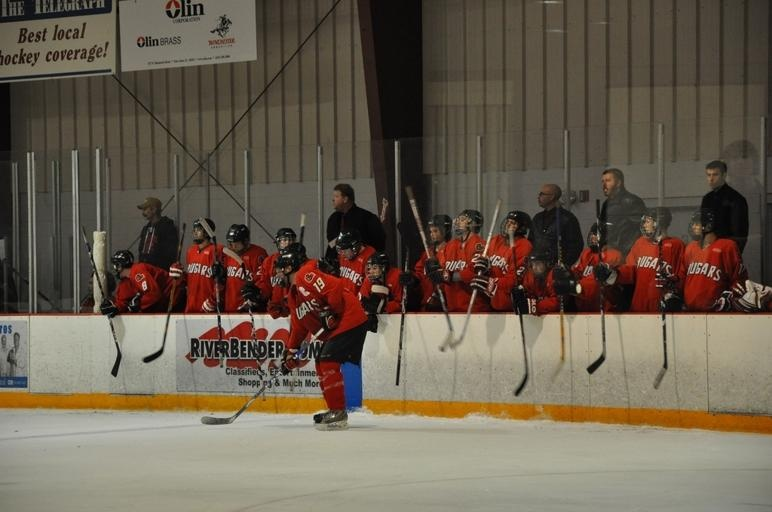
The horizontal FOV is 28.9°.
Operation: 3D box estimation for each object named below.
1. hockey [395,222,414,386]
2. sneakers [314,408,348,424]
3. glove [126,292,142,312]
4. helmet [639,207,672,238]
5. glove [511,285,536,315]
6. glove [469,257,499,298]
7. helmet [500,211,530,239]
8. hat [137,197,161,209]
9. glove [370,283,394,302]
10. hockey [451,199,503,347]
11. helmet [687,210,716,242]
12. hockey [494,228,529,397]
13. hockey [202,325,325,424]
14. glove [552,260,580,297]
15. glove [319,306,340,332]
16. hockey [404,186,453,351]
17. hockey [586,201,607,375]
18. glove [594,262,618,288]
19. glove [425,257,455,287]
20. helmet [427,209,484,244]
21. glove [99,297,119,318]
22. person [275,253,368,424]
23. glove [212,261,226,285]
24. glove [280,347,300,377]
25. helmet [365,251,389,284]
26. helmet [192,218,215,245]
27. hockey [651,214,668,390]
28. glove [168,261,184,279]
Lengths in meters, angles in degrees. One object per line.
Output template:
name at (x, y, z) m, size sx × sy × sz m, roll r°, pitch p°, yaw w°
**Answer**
hockey at (0.185, 0.606, 17.712) m, size 0.188 × 1.820 × 0.360 m, roll 0°, pitch -4°, yaw 3°
sneakers at (-0.641, 1.807, 17.020) m, size 0.372 × 0.164 × 0.151 m, roll 3°, pitch -2°, yaw -5°
glove at (-3.111, 0.574, 18.494) m, size 0.082 × 0.161 × 0.225 m, roll 20°, pitch -55°, yaw -29°
helmet at (3.055, -0.369, 17.073) m, size 0.355 × 0.364 × 0.283 m, roll 0°, pitch 0°, yaw -18°
glove at (1.565, 0.515, 17.246) m, size 0.310 × 0.329 × 0.243 m, roll -2°, pitch 1°, yaw 3°
glove at (1.138, 0.243, 17.424) m, size 0.319 × 0.438 × 0.202 m, roll 24°, pitch -21°, yaw -27°
helmet at (1.533, -0.340, 17.540) m, size 0.305 × 0.301 × 0.243 m, roll 17°, pitch -11°, yaw -27°
hat at (-2.950, -0.647, 18.661) m, size 0.203 × 0.101 × 0.131 m, roll 1°, pitch -2°, yaw -1°
glove at (-0.053, 0.425, 17.617) m, size 0.275 × 0.174 × 0.115 m, roll 2°, pitch -4°, yaw -36°
hockey at (1.072, 0.254, 17.537) m, size 0.189 × 1.772 × 0.095 m, roll 20°, pitch 2°, yaw 17°
helmet at (3.581, -0.324, 17.052) m, size 0.359 × 0.370 × 0.281 m, roll -10°, pitch -8°, yaw -3°
hockey at (1.519, 0.653, 17.376) m, size 0.160 × 1.927 × 0.307 m, roll 1°, pitch -4°, yaw -16°
hockey at (-1.401, 1.428, 17.760) m, size 0.219 × 1.304 × 0.203 m, roll 25°, pitch -23°, yaw 41°
glove at (1.985, 0.287, 17.158) m, size 0.342 × 0.135 × 0.256 m, roll 21°, pitch 29°, yaw -28°
glove at (-0.659, 0.726, 17.067) m, size 0.174 × 0.272 × 0.168 m, roll -2°, pitch -4°, yaw 19°
hockey at (0.497, 0.054, 17.695) m, size 0.367 × 2.149 × 0.123 m, roll -16°, pitch -14°, yaw 18°
hockey at (2.412, 0.357, 17.147) m, size 0.211 × 1.984 × 0.215 m, roll -3°, pitch -4°, yaw 37°
glove at (2.508, 0.227, 17.150) m, size 0.259 × 0.239 × 0.237 m, roll -3°, pitch 7°, yaw 25°
glove at (0.616, 0.179, 17.623) m, size 0.322 × 0.298 × 0.197 m, roll 1°, pitch -4°, yaw -25°
helmet at (0.816, -0.338, 17.713) m, size 0.499 × 0.289 × 0.360 m, roll -1°, pitch 2°, yaw 15°
glove at (-3.391, 0.658, 18.456) m, size 0.176 × 0.206 × 0.227 m, roll -35°, pitch -8°, yaw -5°
person at (-0.744, 0.897, 17.175) m, size 1.022 × 2.090 × 0.518 m, roll 0°, pitch -4°, yaw -3°
glove at (-2.052, 0.208, 18.173) m, size 0.170 × 0.243 × 0.182 m, roll -13°, pitch 2°, yaw -17°
glove at (-1.144, 1.212, 17.299) m, size 0.114 × 0.292 × 0.203 m, roll 22°, pitch -5°, yaw -41°
helmet at (-0.118, 0.147, 17.661) m, size 0.286 × 0.346 × 0.282 m, roll -1°, pitch 10°, yaw 11°
helmet at (-2.254, -0.278, 18.296) m, size 0.241 × 0.318 × 0.315 m, roll -6°, pitch 24°, yaw -7°
hockey at (3.091, 0.527, 16.989) m, size 0.173 × 1.922 × 0.158 m, roll -1°, pitch -4°, yaw 10°
glove at (-2.576, 0.177, 18.420) m, size 0.143 × 0.182 × 0.193 m, roll 4°, pitch 28°, yaw 4°
